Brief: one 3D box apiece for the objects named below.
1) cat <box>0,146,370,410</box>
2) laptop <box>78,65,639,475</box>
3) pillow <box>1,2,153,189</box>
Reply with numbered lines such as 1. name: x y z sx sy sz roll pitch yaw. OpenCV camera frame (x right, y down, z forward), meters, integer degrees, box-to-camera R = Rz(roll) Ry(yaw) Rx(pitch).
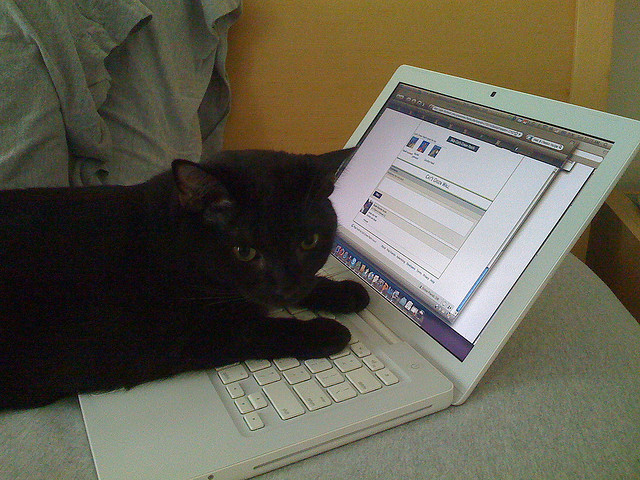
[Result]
1. cat: -0.083 0.006 0.602 0.534 0.220 0.169 -10 38 -5
2. laptop: 0.032 0.017 0.672 0.602 0.337 0.428 -3 30 -30
3. pillow: -0.317 -0.192 0.655 0.081 0.263 0.204 -3 -6 38
